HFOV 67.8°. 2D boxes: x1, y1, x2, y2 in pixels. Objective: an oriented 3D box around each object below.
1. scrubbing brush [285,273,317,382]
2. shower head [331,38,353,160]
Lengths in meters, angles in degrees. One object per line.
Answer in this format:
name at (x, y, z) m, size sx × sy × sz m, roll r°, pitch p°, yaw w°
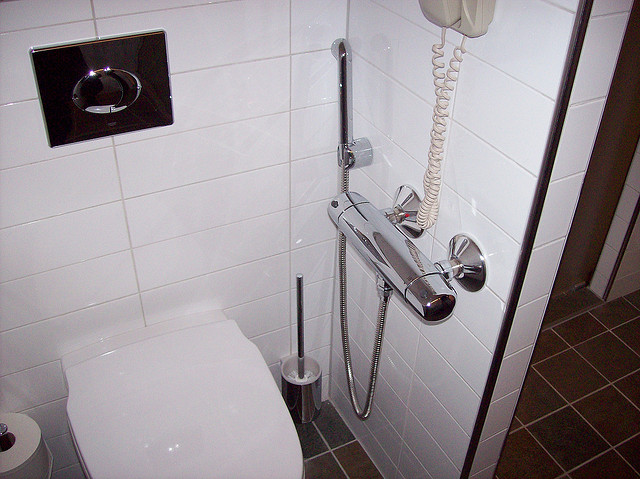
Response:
scrubbing brush at (-0.090, 0.288, 1.481) m, size 0.094 × 0.360 × 0.120 m, roll -7°, pitch 46°, yaw -15°
shower head at (0.056, -0.321, 1.125) m, size 0.048 × 0.300 × 0.091 m, roll -1°, pitch 23°, yaw 5°
